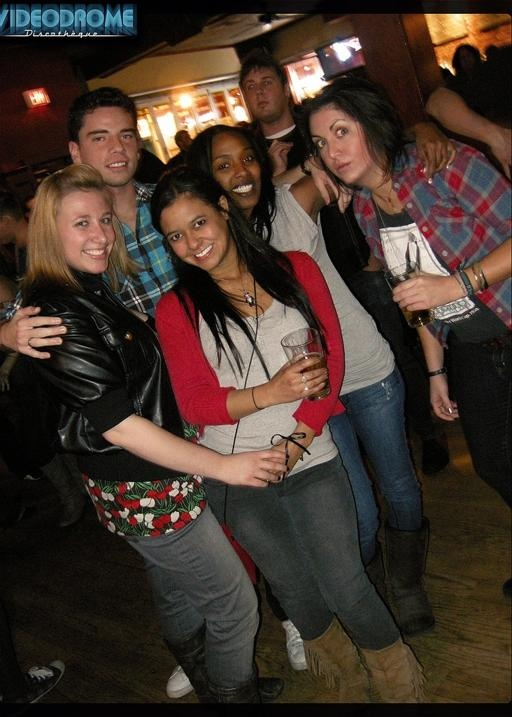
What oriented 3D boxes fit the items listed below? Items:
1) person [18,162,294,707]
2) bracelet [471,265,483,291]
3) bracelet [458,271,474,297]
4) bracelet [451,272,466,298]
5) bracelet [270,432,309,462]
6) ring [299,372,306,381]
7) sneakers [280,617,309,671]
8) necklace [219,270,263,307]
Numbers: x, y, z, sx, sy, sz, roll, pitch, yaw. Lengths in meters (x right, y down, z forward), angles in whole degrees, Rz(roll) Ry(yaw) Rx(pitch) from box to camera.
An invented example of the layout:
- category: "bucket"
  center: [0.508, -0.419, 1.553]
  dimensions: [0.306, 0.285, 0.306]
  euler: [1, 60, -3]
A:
- category: "person"
  center: [-0.256, 0.386, 1.666]
  dimensions: [0.549, 1.493, 0.488]
  euler: [-25, 12, -14]
- category: "bracelet"
  center: [0.634, -0.229, 1.494]
  dimensions: [0.024, 0.053, 0.042]
  euler: [-11, 12, -1]
- category: "bracelet"
  center: [0.605, -0.223, 1.534]
  dimensions: [0.026, 0.065, 0.057]
  euler: [-34, 32, 12]
- category: "bracelet"
  center: [0.594, -0.213, 1.530]
  dimensions: [0.024, 0.059, 0.046]
  euler: [-18, 9, -2]
- category: "bracelet"
  center: [0.104, 0.278, 1.602]
  dimensions: [0.097, 0.086, 0.029]
  euler: [2, -28, 5]
- category: "ring"
  center: [0.134, 0.054, 1.466]
  dimensions: [0.009, 0.021, 0.006]
  euler: [-31, 14, -36]
- category: "sneakers"
  center: [0.131, 1.173, 2.152]
  dimensions: [0.072, 0.218, 0.127]
  euler: [-1, -20, -20]
- category: "necklace"
  center: [-0.042, -0.223, 1.738]
  dimensions: [0.093, 0.044, 0.151]
  euler: [-39, 53, -7]
